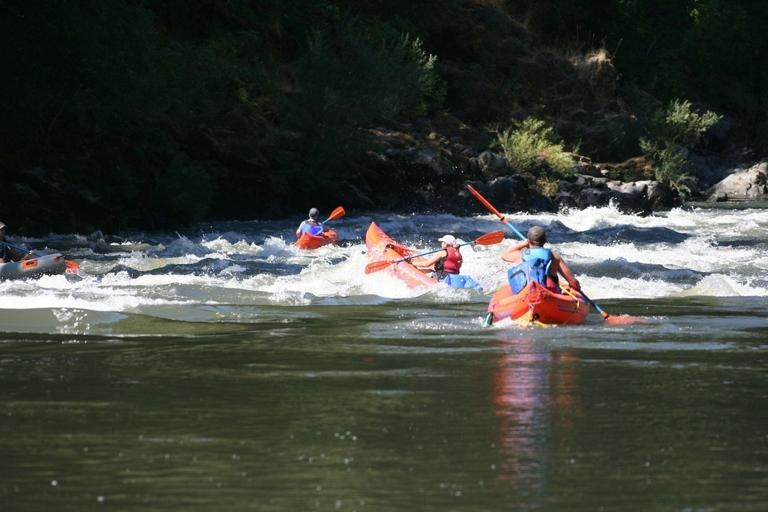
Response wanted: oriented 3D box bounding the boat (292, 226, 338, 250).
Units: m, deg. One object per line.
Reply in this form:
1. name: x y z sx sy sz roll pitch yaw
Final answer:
1. boat: -2.459 -0.609 47.752 1.463 0.737 0.613 -1 -1 -39
